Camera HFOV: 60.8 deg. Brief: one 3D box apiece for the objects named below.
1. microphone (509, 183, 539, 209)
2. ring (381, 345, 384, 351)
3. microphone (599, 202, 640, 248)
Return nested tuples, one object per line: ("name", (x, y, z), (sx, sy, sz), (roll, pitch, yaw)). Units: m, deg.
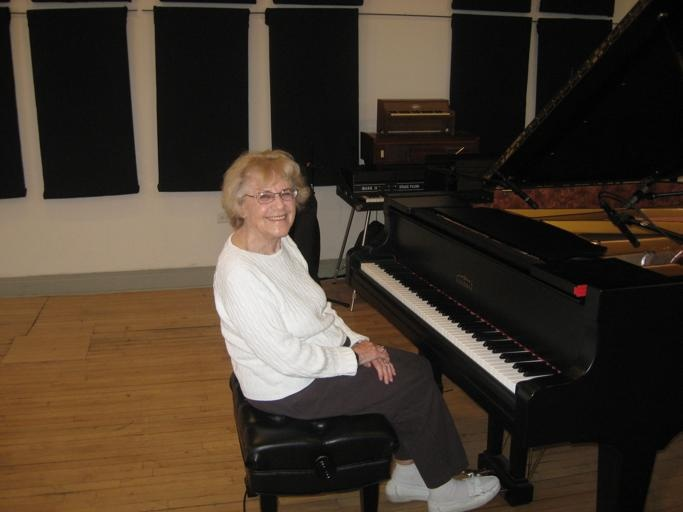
("microphone", (1.062, -0.354, 3.356), (0.238, 0.051, 0.049), (35, 52, 10))
("ring", (0.197, 0.435, 2.779), (0.005, 0.016, 0.017), (-28, -33, 30))
("microphone", (1.292, -0.161, 2.709), (0.163, 0.180, 0.207), (4, 13, 15))
